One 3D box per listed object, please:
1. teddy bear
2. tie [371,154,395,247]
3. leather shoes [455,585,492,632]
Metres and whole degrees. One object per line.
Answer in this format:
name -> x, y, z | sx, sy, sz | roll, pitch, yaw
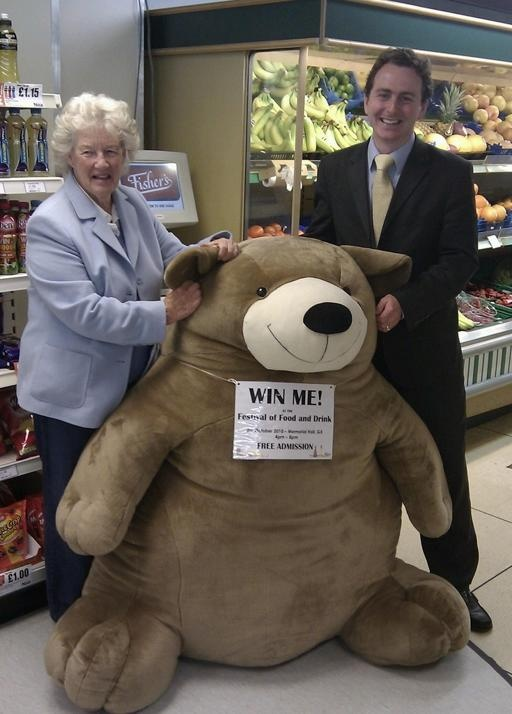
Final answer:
teddy bear -> 0.026, 0.269, 1.552 | 1.098, 1.165, 0.544 | -1, 1, -20
tie -> 0.384, -0.483, 1.805 | 0.069, 0.274, 0.067 | -1, 1, 11
leather shoes -> 0.788, 0.925, 2.196 | 0.088, 0.092, 0.241 | -3, -1, -7
